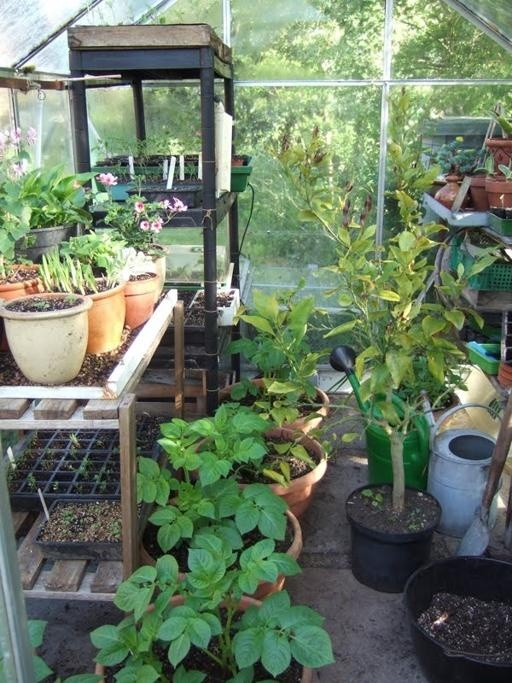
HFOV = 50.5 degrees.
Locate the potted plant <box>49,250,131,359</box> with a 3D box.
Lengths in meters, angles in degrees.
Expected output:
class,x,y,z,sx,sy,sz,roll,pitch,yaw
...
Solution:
class,x,y,z,sx,sy,sz,roll,pitch,yaw
potted plant,-0.412,-0.125,1.520,0.288,0.290,0.258,-7,19,-18
